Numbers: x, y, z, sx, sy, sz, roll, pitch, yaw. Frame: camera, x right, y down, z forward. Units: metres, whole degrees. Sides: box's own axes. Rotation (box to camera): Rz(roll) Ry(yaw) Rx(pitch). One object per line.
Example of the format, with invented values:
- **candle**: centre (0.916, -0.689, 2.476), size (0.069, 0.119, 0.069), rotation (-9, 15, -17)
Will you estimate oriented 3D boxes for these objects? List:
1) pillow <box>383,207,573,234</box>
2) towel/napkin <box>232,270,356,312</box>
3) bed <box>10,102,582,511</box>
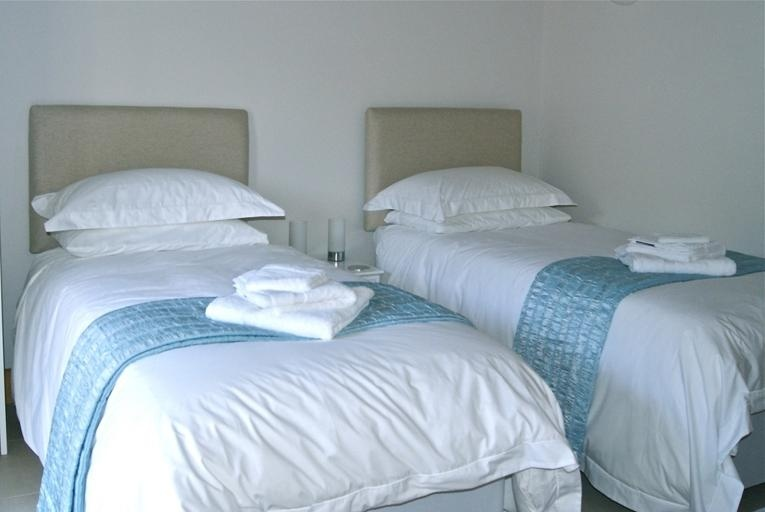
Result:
- **pillow**: centre (0.710, -0.248, 4.368), size (0.752, 0.120, 0.448), rotation (-4, 7, -26)
- **towel/napkin**: centre (-0.379, 0.128, 2.607), size (0.257, 0.077, 0.265), rotation (-4, 11, -28)
- **bed**: centre (-0.501, 0.194, 3.023), size (2.322, 1.491, 0.970), rotation (-1, 5, -26)
